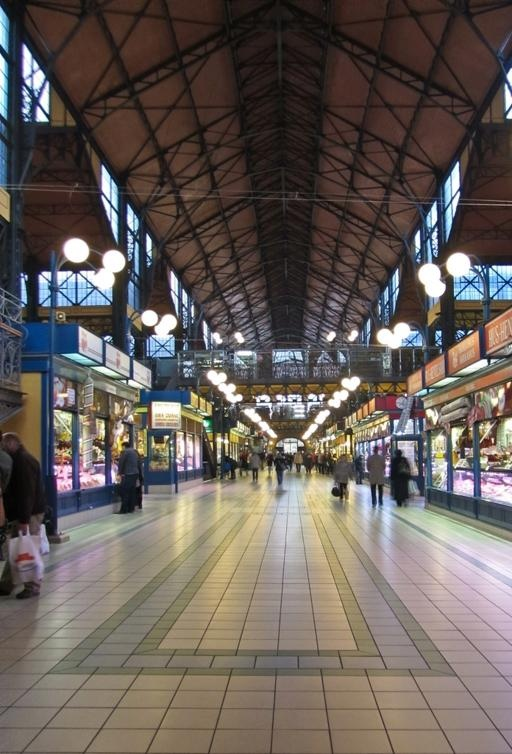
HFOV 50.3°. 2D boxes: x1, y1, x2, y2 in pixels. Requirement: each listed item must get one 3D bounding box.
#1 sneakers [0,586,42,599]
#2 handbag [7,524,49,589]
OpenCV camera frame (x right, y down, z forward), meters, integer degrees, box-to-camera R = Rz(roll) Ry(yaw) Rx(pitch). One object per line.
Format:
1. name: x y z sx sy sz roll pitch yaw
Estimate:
1. sneakers: -2.494 2.288 5.780 0.286 0.149 0.106 6 -10 0
2. handbag: -2.397 1.905 5.681 0.351 0.604 0.294 2 -7 -31
